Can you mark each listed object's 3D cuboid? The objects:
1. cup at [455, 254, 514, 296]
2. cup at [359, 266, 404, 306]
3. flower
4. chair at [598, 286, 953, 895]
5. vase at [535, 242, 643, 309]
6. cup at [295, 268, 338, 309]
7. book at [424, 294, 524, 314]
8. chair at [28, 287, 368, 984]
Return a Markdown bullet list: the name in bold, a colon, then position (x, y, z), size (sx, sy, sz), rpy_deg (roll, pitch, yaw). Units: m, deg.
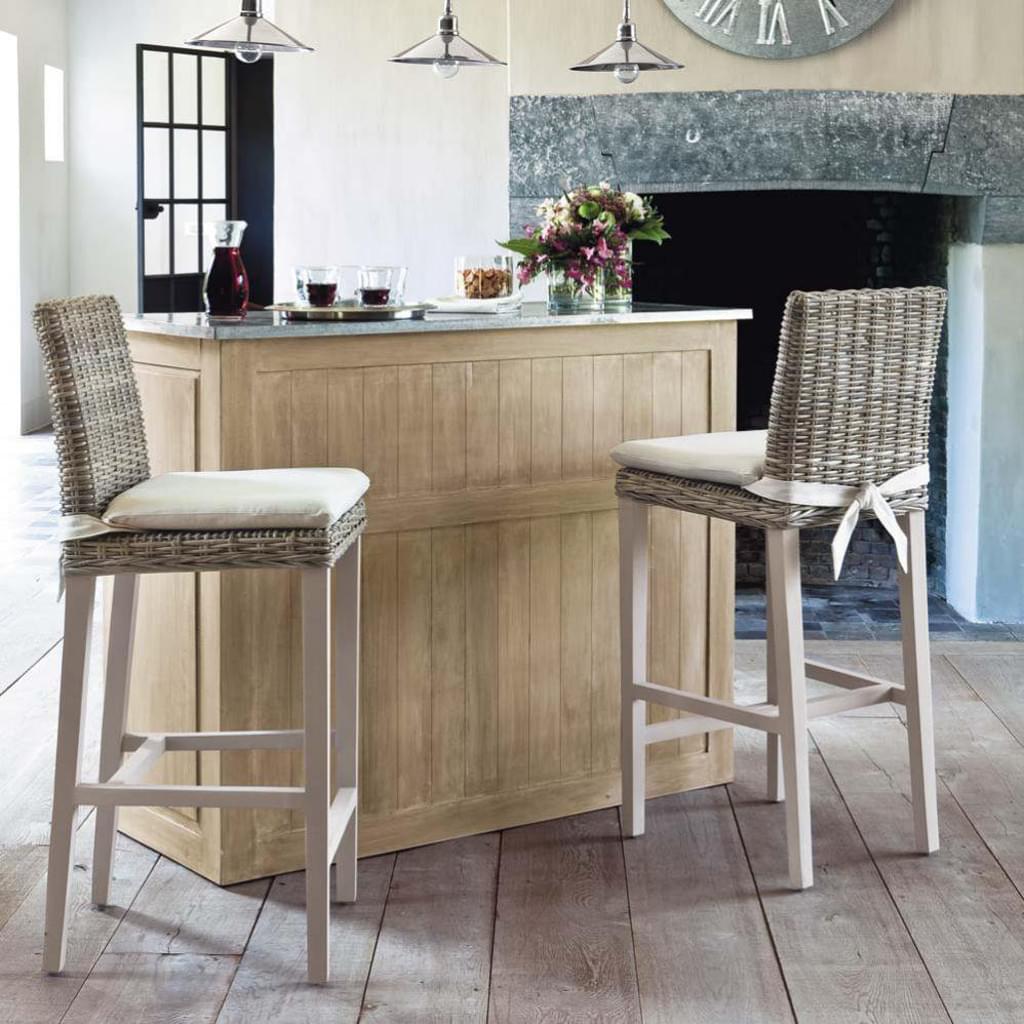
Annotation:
- **cup**: position (-0.068, -0.541, 2.432), size (0.133, 0.111, 0.132), rpy_deg (0, 6, 0)
- **cup**: position (-0.286, -0.482, 2.210), size (0.088, 0.074, 0.083), rpy_deg (-1, 1, 0)
- **flower**: position (0.179, -0.633, 2.436), size (0.339, 0.243, 0.195), rpy_deg (0, 6, -1)
- **chair**: position (0.522, 0.136, 2.035), size (0.656, 1.111, 0.381), rpy_deg (0, 6, 5)
- **vase**: position (0.178, -0.493, 2.466), size (0.236, 0.187, 0.133), rpy_deg (-1, 0, -14)
- **cup**: position (-0.390, -0.451, 2.147), size (0.076, 0.090, 0.077), rpy_deg (1, 5, 0)
- **book**: position (-0.091, -0.465, 2.366), size (0.217, 0.048, 0.140), rpy_deg (-1, 6, -3)
- **chair**: position (-0.498, 0.187, 1.738), size (0.513, 1.079, 0.562), rpy_deg (-1, 6, -8)
